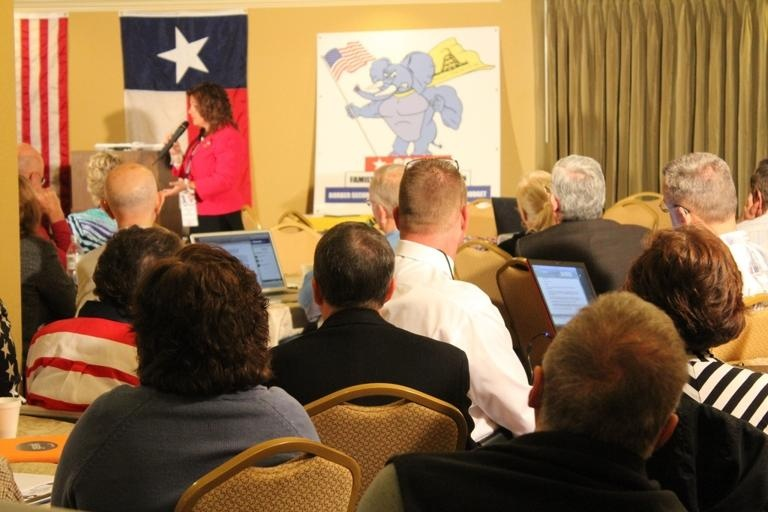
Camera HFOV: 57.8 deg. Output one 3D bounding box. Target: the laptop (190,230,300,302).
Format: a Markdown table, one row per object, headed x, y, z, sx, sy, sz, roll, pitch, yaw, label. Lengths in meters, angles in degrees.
| x | y | z | sx | sy | sz | roll | pitch | yaw | label |
| --- | --- | --- | --- | --- | --- | --- | --- | --- | --- |
| -0.865 | 0.059 | 4.235 | 0.170 | 0.449 | 0.600 | -19 | -8 | 37 | laptop |

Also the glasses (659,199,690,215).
| x | y | z | sx | sy | sz | roll | pitch | yaw | label |
| --- | --- | --- | --- | --- | --- | --- | --- | --- | --- |
| 1.618 | -0.270 | 3.874 | 0.195 | 0.065 | 0.195 | 12 | 6 | 34 | glasses |

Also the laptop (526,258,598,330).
| x | y | z | sx | sy | sz | roll | pitch | yaw | label |
| --- | --- | --- | --- | --- | --- | --- | --- | --- | --- |
| 0.800 | 0.157 | 3.038 | 0.302 | 0.289 | 0.241 | 4 | -11 | -21 | laptop |

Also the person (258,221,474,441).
| x | y | z | sx | sy | sz | roll | pitch | yaw | label |
| --- | --- | --- | --- | --- | --- | --- | --- | --- | --- |
| -0.094 | 0.275 | 2.534 | 0.746 | 0.720 | 0.415 | -2 | -8 | -3 | person |

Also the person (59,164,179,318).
| x | y | z | sx | sy | sz | roll | pitch | yaw | label |
| --- | --- | --- | --- | --- | --- | --- | --- | --- | --- |
| -1.548 | -0.089 | 4.209 | 0.485 | 0.914 | 0.951 | -20 | 30 | -29 | person |

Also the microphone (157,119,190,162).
| x | y | z | sx | sy | sz | roll | pitch | yaw | label |
| --- | --- | --- | --- | --- | --- | --- | --- | --- | --- |
| -2.208 | -1.198 | 7.326 | 0.093 | 0.594 | 0.088 | 29 | -19 | 2 | microphone |

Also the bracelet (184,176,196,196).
| x | y | z | sx | sy | sz | roll | pitch | yaw | label |
| --- | --- | --- | --- | --- | --- | --- | --- | --- | --- |
| -1.975 | -0.711 | 7.072 | 0.056 | 0.166 | 0.114 | -26 | -16 | 38 | bracelet |

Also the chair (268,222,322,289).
| x | y | z | sx | sy | sz | roll | pitch | yaw | label |
| --- | --- | --- | --- | --- | --- | --- | --- | --- | --- |
| -0.636 | -0.055 | 4.952 | 0.359 | 0.481 | 0.679 | 4 | -4 | -4 | chair |

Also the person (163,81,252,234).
| x | y | z | sx | sy | sz | roll | pitch | yaw | label |
| --- | --- | --- | --- | --- | --- | --- | --- | --- | --- |
| -1.937 | -0.614 | 7.469 | 0.837 | 2.337 | 0.862 | -3 | 11 | -25 | person |

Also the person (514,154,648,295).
| x | y | z | sx | sy | sz | roll | pitch | yaw | label |
| --- | --- | --- | --- | --- | --- | --- | --- | --- | --- |
| 1.134 | -0.035 | 3.975 | 0.735 | 0.983 | 0.535 | -5 | 0 | -16 | person |
